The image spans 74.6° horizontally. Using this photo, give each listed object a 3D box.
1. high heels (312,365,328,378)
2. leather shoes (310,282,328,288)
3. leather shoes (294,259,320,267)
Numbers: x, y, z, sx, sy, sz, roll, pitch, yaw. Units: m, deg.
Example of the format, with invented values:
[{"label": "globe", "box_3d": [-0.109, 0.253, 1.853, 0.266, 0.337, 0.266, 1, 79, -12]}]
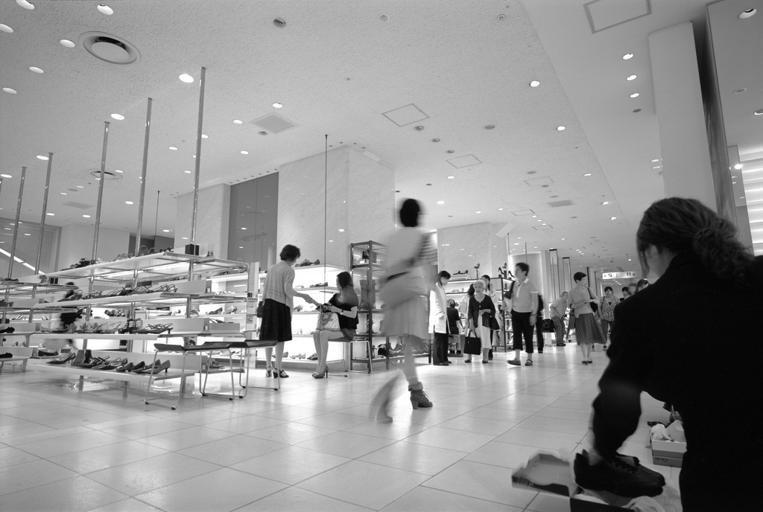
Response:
[{"label": "high heels", "box_3d": [-0.934, 1.800, 7.653, 0.115, 0.130, 0.334, -3, -18, 10]}, {"label": "leather shoes", "box_3d": [-1.119, 0.533, 9.090, 0.366, 0.109, 0.109, 2, -5, 12]}, {"label": "leather shoes", "box_3d": [-1.383, 0.144, 9.608, 0.335, 0.128, 0.195, -1, -6, -16]}]
